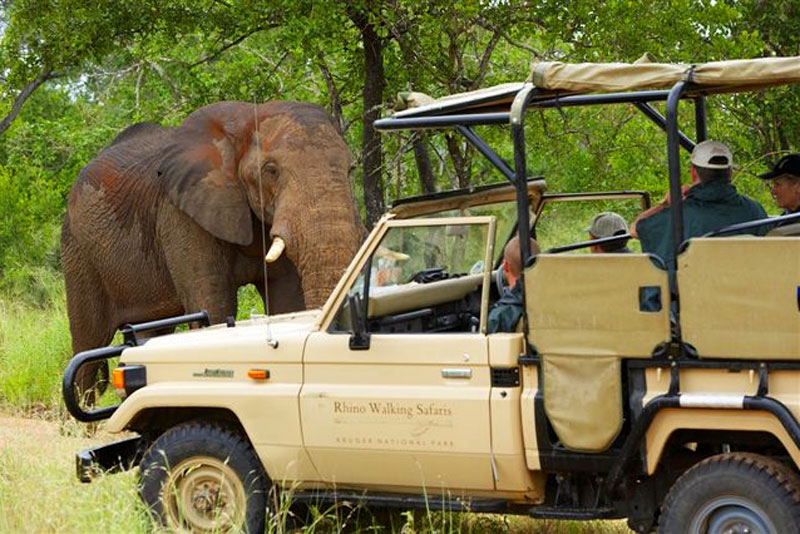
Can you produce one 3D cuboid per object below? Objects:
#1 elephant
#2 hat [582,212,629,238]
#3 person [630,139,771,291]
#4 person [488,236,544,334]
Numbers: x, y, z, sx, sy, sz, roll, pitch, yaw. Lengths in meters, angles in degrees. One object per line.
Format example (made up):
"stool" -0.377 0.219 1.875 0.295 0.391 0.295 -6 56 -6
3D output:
"elephant" -2.482 -0.287 13.326 5.491 3.395 2.403 -21 -12 27
"hat" 1.932 -0.382 9.002 0.305 0.190 0.231 -2 -1 29
"person" 2.600 -0.500 8.082 1.206 1.129 0.669 -12 23 -12
"person" 0.936 0.161 7.719 0.689 0.521 0.318 -5 10 -32
